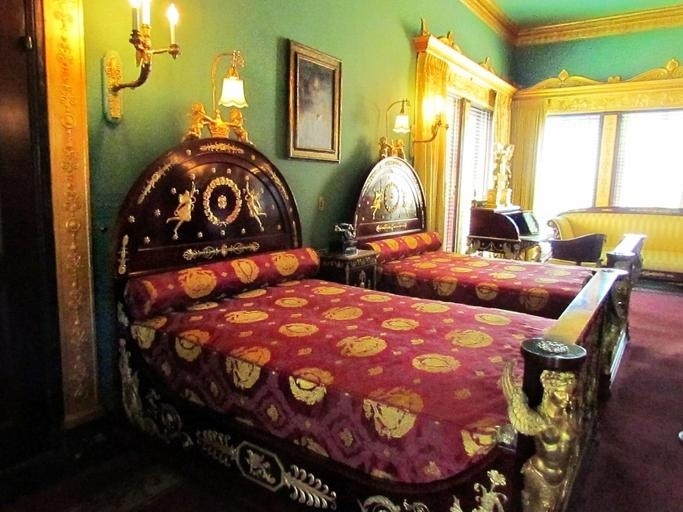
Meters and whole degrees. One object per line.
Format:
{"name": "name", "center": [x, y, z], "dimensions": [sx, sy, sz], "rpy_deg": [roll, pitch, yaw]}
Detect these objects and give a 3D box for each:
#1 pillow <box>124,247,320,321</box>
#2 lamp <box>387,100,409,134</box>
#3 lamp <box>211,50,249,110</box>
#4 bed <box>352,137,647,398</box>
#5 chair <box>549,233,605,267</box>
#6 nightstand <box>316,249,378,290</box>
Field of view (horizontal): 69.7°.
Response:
{"name": "pillow", "center": [-0.724, 0.143, 3.521], "dimensions": [1.466, 0.265, 0.241], "rpy_deg": [-13, 3, -44]}
{"name": "lamp", "center": [0.623, -1.534, 5.356], "dimensions": [0.268, 0.398, 0.180], "rpy_deg": [4, -9, 16]}
{"name": "lamp", "center": [-0.806, -1.314, 3.596], "dimensions": [0.252, 0.452, 0.469], "rpy_deg": [-1, 12, -10]}
{"name": "bed", "center": [1.412, -0.048, 4.695], "dimensions": [2.338, 2.155, 1.524], "rpy_deg": [8, 10, 33]}
{"name": "chair", "center": [3.060, -0.089, 6.393], "dimensions": [0.478, 0.550, 0.459], "rpy_deg": [7, 10, 35]}
{"name": "nightstand", "center": [0.166, 0.167, 4.432], "dimensions": [0.379, 0.304, 0.396], "rpy_deg": [3, 4, 14]}
